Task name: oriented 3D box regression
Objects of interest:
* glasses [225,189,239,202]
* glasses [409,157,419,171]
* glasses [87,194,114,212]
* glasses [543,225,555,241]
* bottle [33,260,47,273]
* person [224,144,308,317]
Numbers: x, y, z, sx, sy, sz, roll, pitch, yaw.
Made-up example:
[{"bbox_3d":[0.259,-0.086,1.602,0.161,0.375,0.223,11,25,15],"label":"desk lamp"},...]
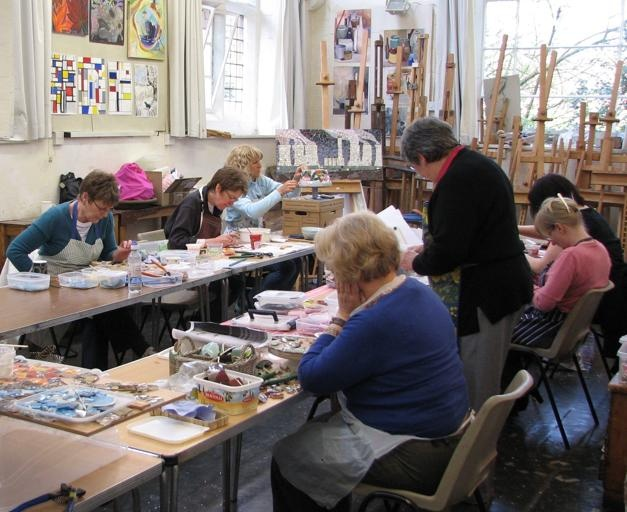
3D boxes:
[{"bbox_3d":[-0.652,-0.488,3.998,0.106,0.081,0.081,-31,-18,28],"label":"glasses"},{"bbox_3d":[0.509,-0.467,2.499,0.048,0.051,0.061,-12,12,-34],"label":"glasses"},{"bbox_3d":[-1.389,-0.336,3.231,0.129,0.072,0.103,34,20,30],"label":"glasses"},{"bbox_3d":[1.549,-0.154,3.221,0.026,0.082,0.080,7,4,8],"label":"glasses"},{"bbox_3d":[-1.674,0.061,3.024,0.073,0.072,0.071,2,1,9],"label":"bottle"},{"bbox_3d":[-0.468,-0.244,5.076,0.921,1.709,0.717,14,30,28],"label":"person"}]
